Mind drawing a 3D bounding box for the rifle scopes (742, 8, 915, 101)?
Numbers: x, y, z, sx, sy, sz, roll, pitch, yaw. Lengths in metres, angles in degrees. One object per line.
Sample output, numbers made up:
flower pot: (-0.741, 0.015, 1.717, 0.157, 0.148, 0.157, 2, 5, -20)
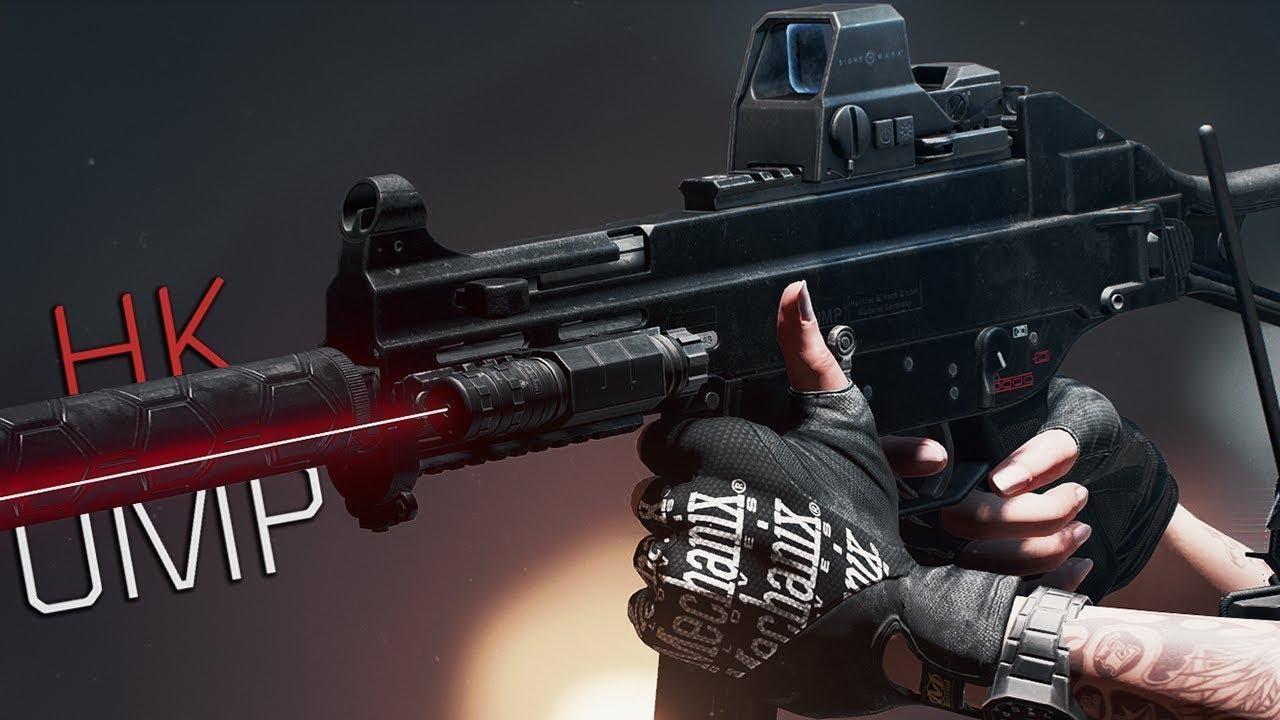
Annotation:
rifle scopes: (0.416, -0.679, 2.519, 0.256, 0.210, 0.339, 0, 7, 42)
